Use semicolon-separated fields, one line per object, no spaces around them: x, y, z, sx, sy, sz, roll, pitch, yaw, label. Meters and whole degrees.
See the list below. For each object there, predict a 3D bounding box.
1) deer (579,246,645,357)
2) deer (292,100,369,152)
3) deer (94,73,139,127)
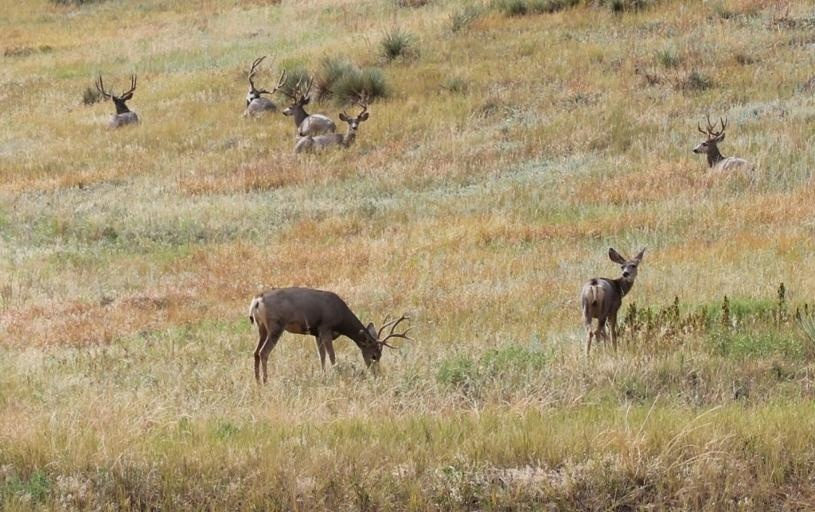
5.623;1.363;39.721;1.904;2.607;0.667;-17;15;-28;deer
-2.805;-4.565;52.747;2.057;2.173;2.084;6;20;28;deer
-12.487;-6.728;60.449;1.730;1.596;5.968;-13;15;-10;deer
